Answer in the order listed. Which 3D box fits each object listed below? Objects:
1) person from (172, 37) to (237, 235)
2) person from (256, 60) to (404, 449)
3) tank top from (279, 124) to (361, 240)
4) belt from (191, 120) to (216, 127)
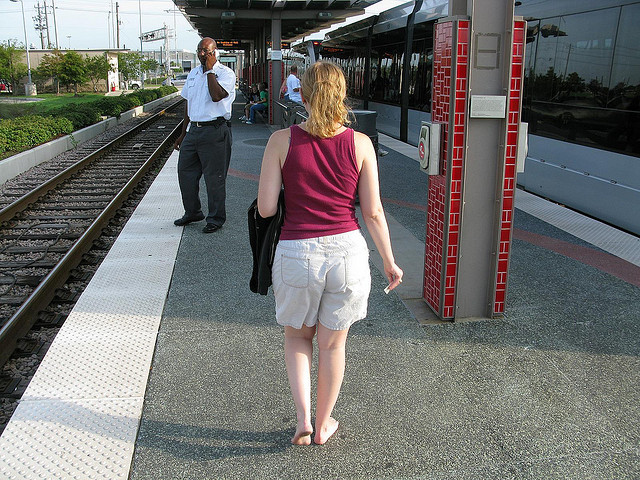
[{"bbox_3d":[-1.690,-1.503,5.924,0.964,2.654,0.939,-7,21,-20],"label":"person"},{"bbox_3d":[0.026,0.169,2.171,0.693,2.069,0.381,-3,20,-10],"label":"person"},{"bbox_3d":[-0.004,-0.292,1.996,0.465,0.641,0.346,1,14,2],"label":"tank top"},{"bbox_3d":[-1.673,-1.652,5.740,0.339,0.095,0.046,5,20,10],"label":"belt"}]
